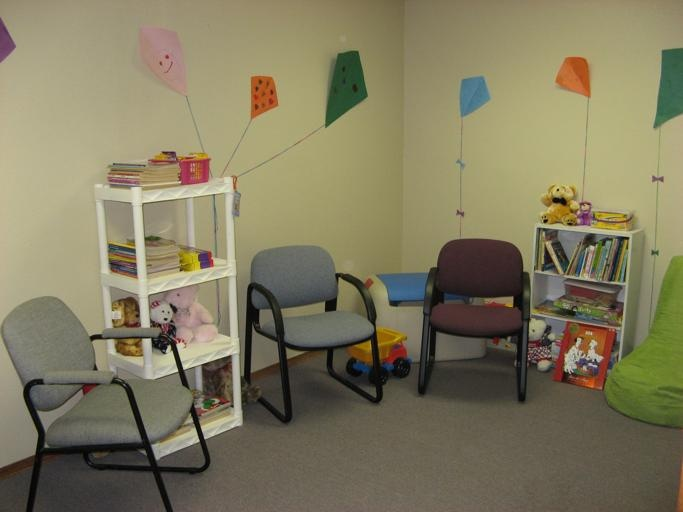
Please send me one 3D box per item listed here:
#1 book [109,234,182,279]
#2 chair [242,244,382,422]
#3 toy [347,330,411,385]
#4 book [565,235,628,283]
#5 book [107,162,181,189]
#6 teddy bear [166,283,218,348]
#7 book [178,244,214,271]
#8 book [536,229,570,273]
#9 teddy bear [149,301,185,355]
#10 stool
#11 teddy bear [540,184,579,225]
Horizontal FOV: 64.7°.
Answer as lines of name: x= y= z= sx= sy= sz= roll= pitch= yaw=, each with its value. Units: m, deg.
book: x=-1.111 y=-0.008 z=3.046 sx=0.302 sy=0.194 sz=0.324 roll=-12 pitch=16 yaw=-44
chair: x=-0.213 y=0.482 z=3.509 sx=0.755 sy=1.008 sz=0.633 roll=-8 pitch=14 yaw=-31
toy: x=0.278 y=0.694 z=3.889 sx=0.386 sy=0.293 sz=0.315 roll=-10 pitch=12 yaw=-36
book: x=1.816 y=0.036 z=3.877 sx=0.370 sy=0.380 sz=0.281 roll=7 pitch=2 yaw=18
book: x=-1.068 y=-0.436 z=2.888 sx=0.378 sy=0.132 sz=0.234 roll=-3 pitch=12 yaw=-13
teddy bear: x=-0.948 y=0.339 z=3.278 sx=0.279 sy=0.414 sz=0.258 roll=-12 pitch=6 yaw=-26
book: x=-0.847 y=0.010 z=3.113 sx=0.126 sy=0.058 sz=0.161 roll=12 pitch=14 yaw=44
book: x=1.578 y=-0.020 z=4.080 sx=0.281 sy=0.309 sz=0.098 roll=-10 pitch=0 yaw=-36
teddy bear: x=-1.030 y=0.406 z=3.179 sx=0.215 sy=0.282 sz=0.231 roll=7 pitch=-12 yaw=-34
stool: x=0.600 y=0.470 z=4.091 sx=0.848 sy=0.648 sz=0.620 roll=0 pitch=6 yaw=-5
teddy bear: x=1.660 y=-0.398 z=4.101 sx=0.271 sy=0.282 sz=0.330 roll=4 pitch=13 yaw=22
